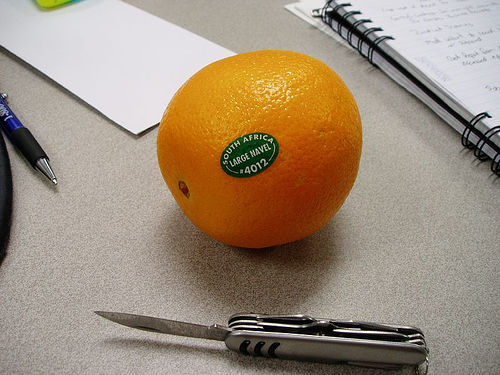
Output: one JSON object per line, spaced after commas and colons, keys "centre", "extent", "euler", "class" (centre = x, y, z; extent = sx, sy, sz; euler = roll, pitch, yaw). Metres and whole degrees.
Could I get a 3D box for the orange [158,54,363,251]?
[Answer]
{"centre": [0.019, -0.054, 0.735], "extent": [0.251, 0.256, 0.293], "euler": [16, 32, 42], "class": "orange"}
